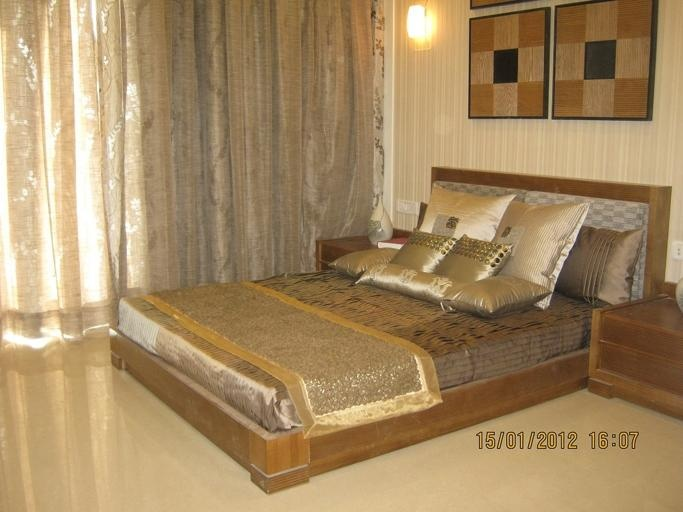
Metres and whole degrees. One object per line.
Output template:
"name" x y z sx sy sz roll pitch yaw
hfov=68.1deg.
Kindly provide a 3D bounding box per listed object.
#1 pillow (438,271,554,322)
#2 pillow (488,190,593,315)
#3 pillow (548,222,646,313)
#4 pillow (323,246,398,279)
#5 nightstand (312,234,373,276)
"pillow" 0.995 0.223 3.489 0.706 0.258 0.904 -6 7 -4
"pillow" 1.329 -0.040 3.459 0.230 0.696 0.835 29 -2 -38
"pillow" 1.727 0.074 3.369 0.177 0.480 0.573 18 -4 -44
"pillow" 0.193 0.033 3.927 0.336 0.092 0.332 -14 9 -15
"nightstand" 0.040 -0.027 4.925 0.434 0.366 0.416 -14 21 -39
